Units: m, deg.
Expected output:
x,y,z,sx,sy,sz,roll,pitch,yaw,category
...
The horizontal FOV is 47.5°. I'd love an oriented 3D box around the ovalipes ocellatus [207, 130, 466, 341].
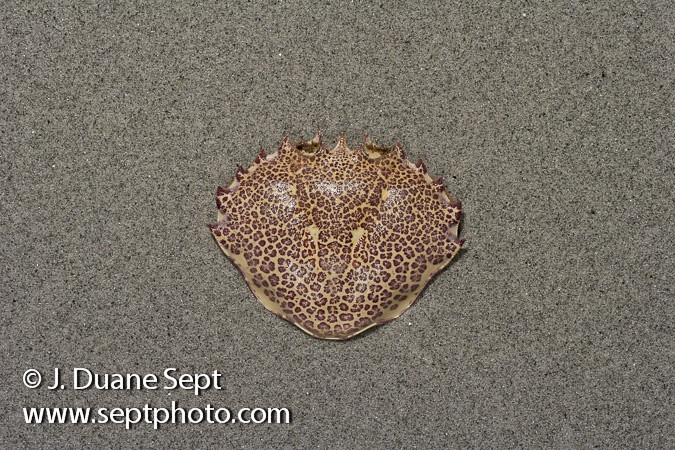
x,y,z,sx,sy,sz,roll,pitch,yaw,category
0.057,-0.208,3.581,1.242,0.722,1.388,-4,63,-2,ovalipes ocellatus
